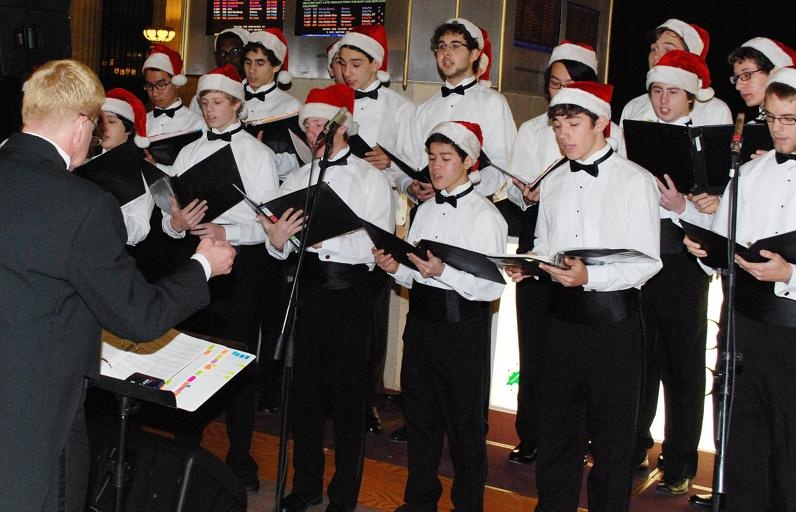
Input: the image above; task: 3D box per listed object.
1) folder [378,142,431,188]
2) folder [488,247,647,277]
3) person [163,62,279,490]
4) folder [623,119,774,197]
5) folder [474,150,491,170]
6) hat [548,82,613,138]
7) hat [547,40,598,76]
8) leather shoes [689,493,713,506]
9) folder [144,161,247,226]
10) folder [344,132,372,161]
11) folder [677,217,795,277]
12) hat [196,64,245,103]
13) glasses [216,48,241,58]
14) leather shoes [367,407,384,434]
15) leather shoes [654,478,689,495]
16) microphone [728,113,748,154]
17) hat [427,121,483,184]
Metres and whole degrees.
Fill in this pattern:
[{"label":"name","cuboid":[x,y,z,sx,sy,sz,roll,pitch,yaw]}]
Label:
[{"label":"folder","cuboid":[0.028,-0.481,3.429,0.260,0.095,0.196,38,-31,-13]},{"label":"folder","cuboid":[0.740,0.028,2.717,0.668,0.152,0.336,5,4,22]},{"label":"person","cuboid":[-1.091,0.006,3.863,0.763,2.238,0.664,-18,36,-33]},{"label":"folder","cuboid":[1.403,-0.505,3.085,0.584,0.398,0.201,3,17,17]},{"label":"folder","cuboid":[0.477,-0.535,3.531,0.052,0.140,0.101,-4,32,18]},{"label":"hat","cuboid":[0.865,-0.692,2.973,0.259,0.243,0.212,12,9,8]},{"label":"hat","cuboid":[1.119,-1.281,3.932,0.269,0.144,0.266,15,-1,15]},{"label":"leather shoes","cuboid":[1.678,1.349,3.509,0.106,0.037,0.126,6,4,34]},{"label":"folder","cuboid":[-1.021,-0.329,3.275,0.323,0.146,0.373,28,-49,-34]},{"label":"folder","cuboid":[-0.212,-0.630,3.639,0.040,0.109,0.157,-23,-16,31]},{"label":"folder","cuboid":[1.418,-0.033,2.626,0.357,0.129,0.215,12,-12,9]},{"label":"hat","cuboid":[-1.020,-1.015,3.687,0.250,0.194,0.192,9,3,-41]},{"label":"glasses","cuboid":[-1.321,-1.589,4.951,0.108,0.031,0.106,0,7,6]},{"label":"leather shoes","cuboid":[-0.143,1.123,4.233,0.071,0.093,0.195,0,-36,7]},{"label":"leather shoes","cuboid":[1.547,1.314,3.582,0.173,0.071,0.078,-3,11,-5]},{"label":"microphone","cuboid":[1.379,-0.488,2.567,0.034,0.173,0.215,5,4,26]},{"label":"hat","cuboid":[0.317,-0.549,3.298,0.332,0.249,0.251,9,4,-37]}]
